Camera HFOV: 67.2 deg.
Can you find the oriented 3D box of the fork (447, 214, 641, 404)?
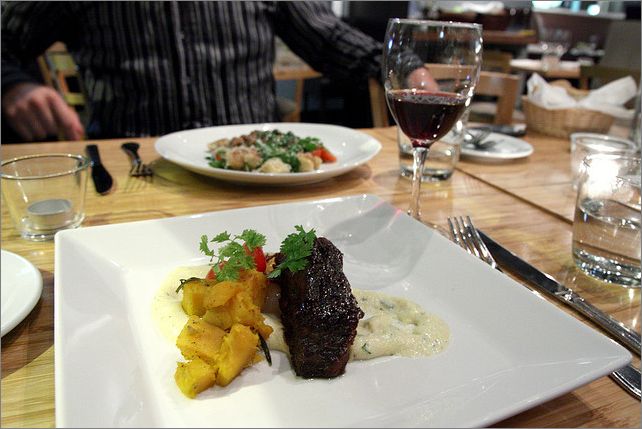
[{"bbox_3d":[0.725,0.316,1.550,0.087,0.091,0.788,-20,43,-18],"label":"fork"}]

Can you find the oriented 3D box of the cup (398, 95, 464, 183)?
[{"bbox_3d":[0.553,-0.363,2.358,0.324,0.329,0.300,2,20,-1],"label":"cup"}]

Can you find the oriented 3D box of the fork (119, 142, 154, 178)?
[{"bbox_3d":[-0.902,-0.317,2.359,0.088,0.084,0.544,-4,25,-17],"label":"fork"}]
